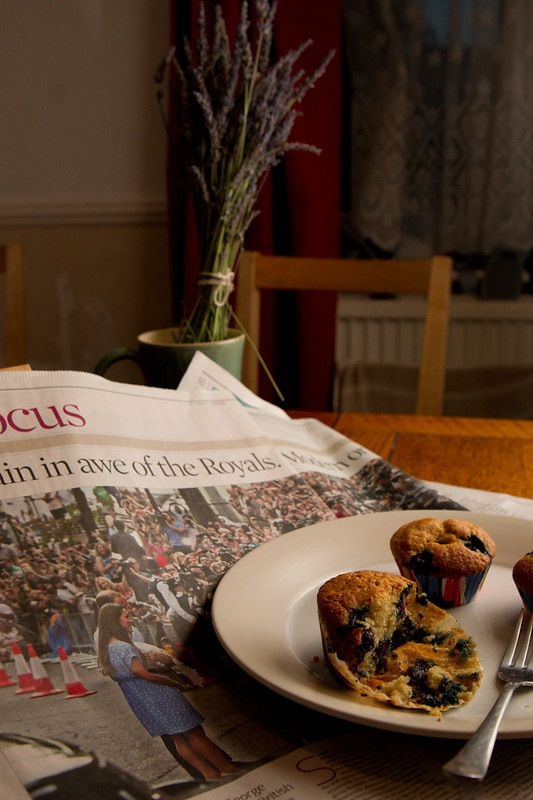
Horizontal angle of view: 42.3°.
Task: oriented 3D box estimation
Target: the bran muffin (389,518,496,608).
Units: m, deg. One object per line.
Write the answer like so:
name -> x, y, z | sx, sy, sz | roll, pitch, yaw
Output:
bran muffin -> 0.110, 0.100, 0.432 | 0.063, 0.043, 0.063 | -13, 17, -36
